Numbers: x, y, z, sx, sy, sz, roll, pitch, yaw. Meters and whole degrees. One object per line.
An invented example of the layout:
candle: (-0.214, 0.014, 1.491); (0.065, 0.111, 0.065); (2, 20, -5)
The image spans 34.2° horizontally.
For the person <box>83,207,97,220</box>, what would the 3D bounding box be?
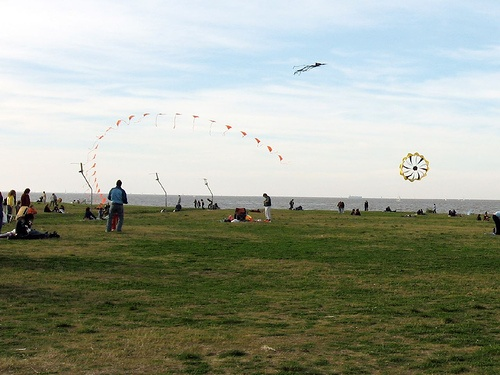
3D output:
person: (-9.628, 1.568, 48.635); (0.648, 0.702, 0.526); (-5, 29, 7)

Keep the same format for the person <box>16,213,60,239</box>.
person: (-8.320, 1.488, 31.706); (1.847, 0.854, 0.853); (8, 2, -42)
